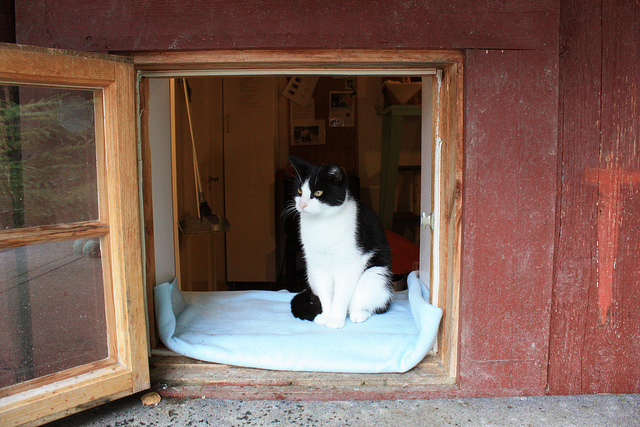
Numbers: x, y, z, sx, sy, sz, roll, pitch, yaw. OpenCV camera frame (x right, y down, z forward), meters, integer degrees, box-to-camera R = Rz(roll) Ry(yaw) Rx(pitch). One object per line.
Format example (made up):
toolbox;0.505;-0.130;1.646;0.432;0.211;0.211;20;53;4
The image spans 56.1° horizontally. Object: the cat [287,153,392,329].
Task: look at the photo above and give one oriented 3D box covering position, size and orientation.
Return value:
cat;0.109;0.136;3.445;0.595;0.943;0.440;0;3;5
